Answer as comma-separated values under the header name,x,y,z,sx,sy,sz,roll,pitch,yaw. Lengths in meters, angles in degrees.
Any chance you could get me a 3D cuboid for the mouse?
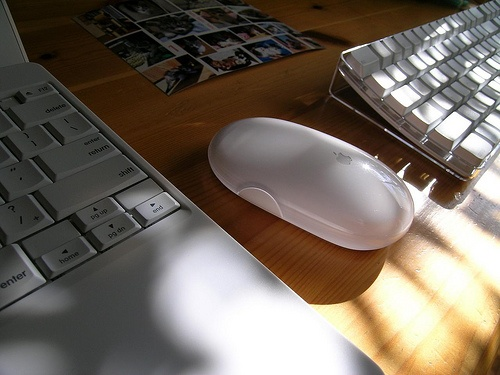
name,x,y,z,sx,sy,sz,roll,pitch,yaw
mouse,0.120,-0.003,0.471,0.196,0.309,0.083,-14,87,-2
